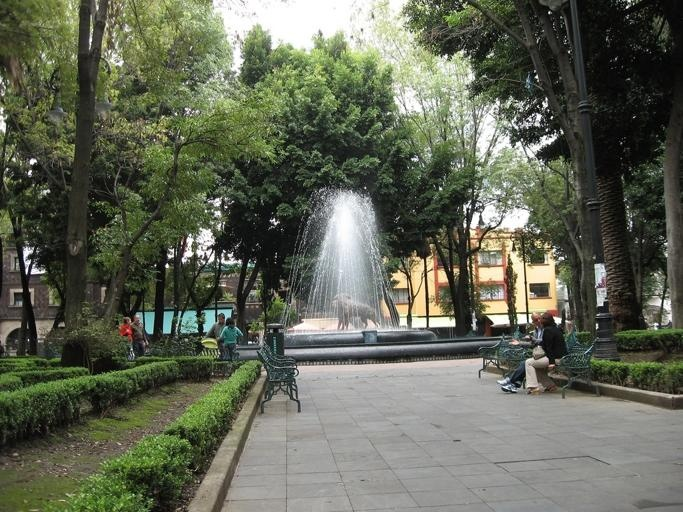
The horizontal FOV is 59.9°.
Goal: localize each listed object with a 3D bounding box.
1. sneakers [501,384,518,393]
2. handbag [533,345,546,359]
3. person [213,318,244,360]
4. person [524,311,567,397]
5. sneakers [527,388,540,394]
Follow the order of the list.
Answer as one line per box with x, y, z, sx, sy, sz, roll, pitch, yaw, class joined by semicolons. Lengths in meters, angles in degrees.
3.976;3.147;14.054;0.374;0.259;0.174;5;-7;12;sneakers
4.599;2.249;13.796;0.194;0.295;0.290;3;-3;8;handbag
-3.605;2.720;19.140;0.680;1.591;0.497;4;20;-14;person
4.730;2.245;13.811;0.976;1.866;0.685;-4;-6;21;person
4.455;3.120;13.737;0.298;0.160;0.298;-4;-8;14;sneakers
